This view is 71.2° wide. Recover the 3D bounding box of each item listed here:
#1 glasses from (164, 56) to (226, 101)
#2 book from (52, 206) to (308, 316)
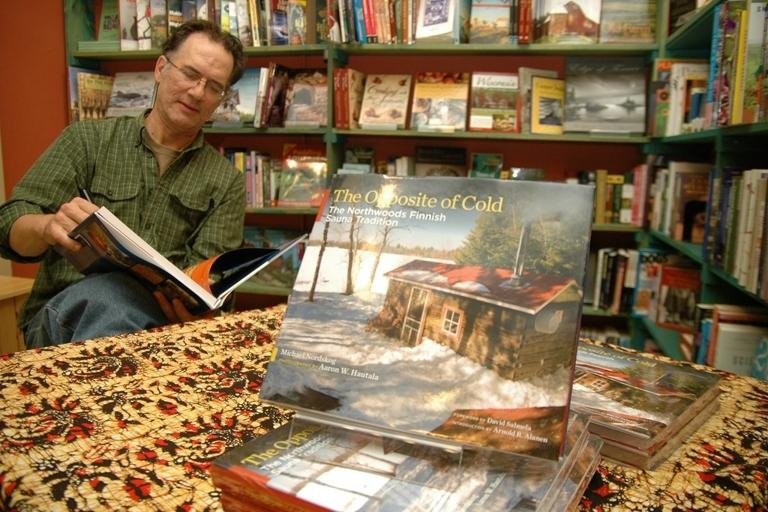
[{"bbox_3d":[-0.673,-0.628,1.912,0.173,0.048,0.168,24,9,-44],"label":"glasses"},{"bbox_3d":[-0.537,0.028,1.330,0.754,0.290,0.233,5,10,14],"label":"book"}]
